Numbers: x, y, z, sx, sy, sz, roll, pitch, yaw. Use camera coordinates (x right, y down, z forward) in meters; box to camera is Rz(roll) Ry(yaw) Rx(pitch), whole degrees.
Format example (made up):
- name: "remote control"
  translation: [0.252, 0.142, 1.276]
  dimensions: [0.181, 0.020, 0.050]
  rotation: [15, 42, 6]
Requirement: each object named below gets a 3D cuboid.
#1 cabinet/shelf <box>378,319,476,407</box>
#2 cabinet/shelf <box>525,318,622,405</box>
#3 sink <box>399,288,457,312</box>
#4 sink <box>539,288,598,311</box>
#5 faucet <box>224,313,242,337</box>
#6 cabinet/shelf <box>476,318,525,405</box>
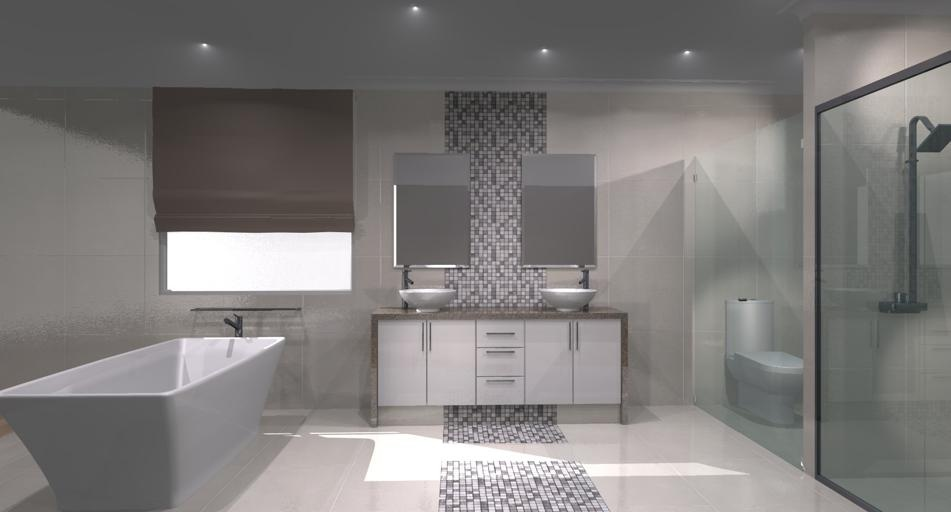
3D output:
- name: "cabinet/shelf"
  translation: [-0.596, 1.095, 6.938]
  dimensions: [1.141, 0.873, 0.416]
  rotation: [4, -8, -30]
- name: "cabinet/shelf"
  translation: [0.940, 1.093, 6.974]
  dimensions: [1.163, 0.880, 0.409]
  rotation: [3, -7, -22]
- name: "sink"
  translation: [-0.510, 0.468, 6.926]
  dimensions: [0.533, 0.230, 0.299]
  rotation: [1, -3, -8]
- name: "sink"
  translation: [0.968, 0.460, 6.951]
  dimensions: [0.545, 0.232, 0.262]
  rotation: [-1, -3, 10]
- name: "faucet"
  translation: [-2.507, 0.716, 6.896]
  dimensions: [0.188, 0.238, 0.461]
  rotation: [1, -4, -20]
- name: "cabinet/shelf"
  translation: [0.405, 1.163, 7.033]
  dimensions: [0.754, 0.878, 0.725]
  rotation: [0, -8, 6]
